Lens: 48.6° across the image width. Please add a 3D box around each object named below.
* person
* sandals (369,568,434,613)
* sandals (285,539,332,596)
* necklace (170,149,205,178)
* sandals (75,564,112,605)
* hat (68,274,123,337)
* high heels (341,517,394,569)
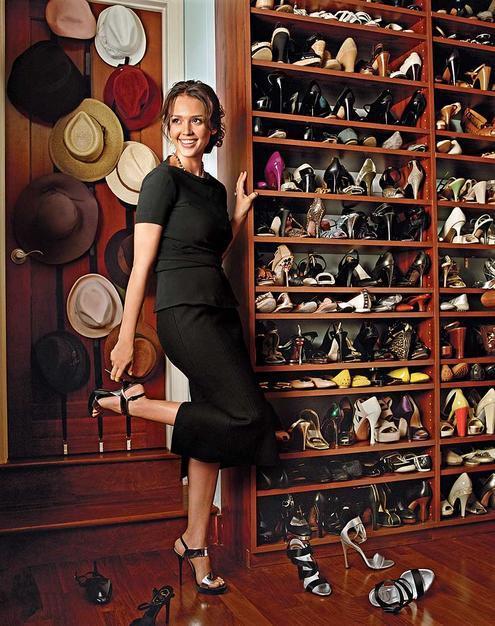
[{"bbox_3d":[-0.210,0.050,1.910,0.589,1.797,0.301,1,-5,-17],"label":"person"},{"bbox_3d":[0.498,0.880,1.772,0.198,0.071,0.097,-17,37,-19],"label":"sandals"},{"bbox_3d":[0.210,0.885,1.939,0.078,0.087,0.222,-5,14,-13],"label":"sandals"},{"bbox_3d":[-0.235,-0.545,2.027,0.126,0.033,0.097,24,-17,3],"label":"necklace"},{"bbox_3d":[-0.519,0.933,1.865,0.082,0.066,0.134,-5,15,-29],"label":"sandals"},{"bbox_3d":[-0.688,-0.024,2.429,0.253,0.293,0.083,-12,-1,-3],"label":"hat"},{"bbox_3d":[0.457,0.874,2.096,0.202,0.169,0.099,-11,-18,22],"label":"high heels"}]
